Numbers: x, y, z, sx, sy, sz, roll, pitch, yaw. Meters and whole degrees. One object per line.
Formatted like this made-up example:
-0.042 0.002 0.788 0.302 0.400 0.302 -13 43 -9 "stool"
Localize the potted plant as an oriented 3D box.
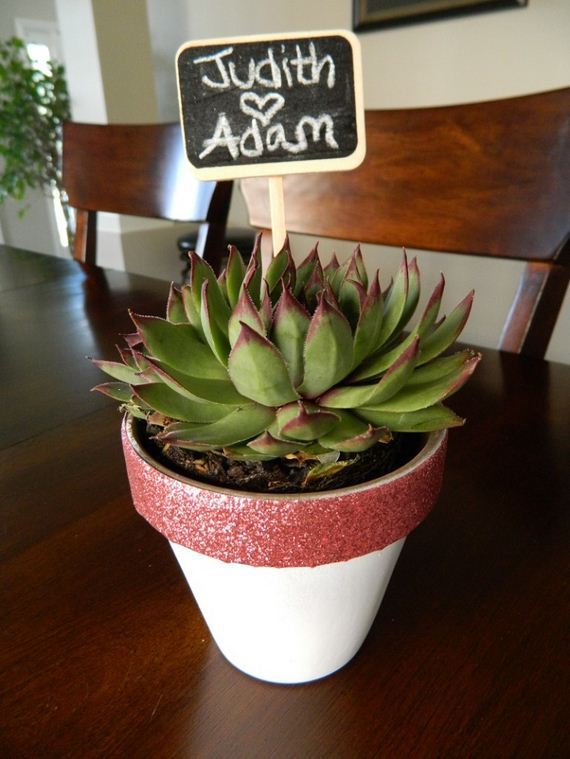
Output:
-0.001 0.060 0.319 0.141 0.157 0.142 -18 23 -35 "potted plant"
